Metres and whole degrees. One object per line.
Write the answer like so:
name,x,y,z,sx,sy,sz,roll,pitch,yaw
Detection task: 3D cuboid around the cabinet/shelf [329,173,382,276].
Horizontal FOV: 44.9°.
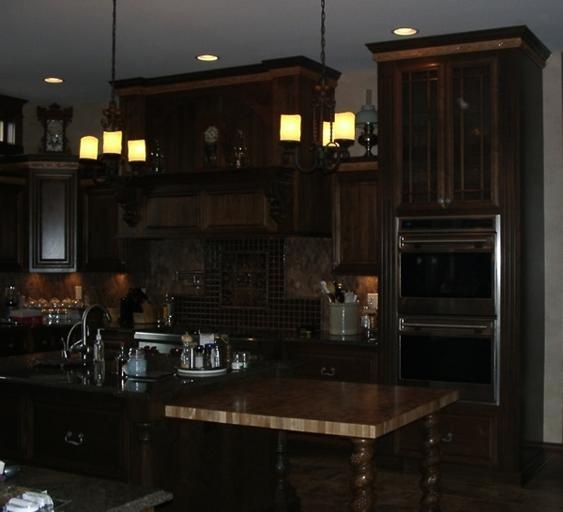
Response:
cabinet/shelf,0.582,-0.260,5.407,0.368,0.812,0.103,1,-1,33

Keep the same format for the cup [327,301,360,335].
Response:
cup,0.496,0.491,5.451,0.242,0.258,0.232,1,0,0

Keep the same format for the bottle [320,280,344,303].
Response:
bottle,0.426,0.289,5.642,0.206,0.168,0.390,1,-1,3

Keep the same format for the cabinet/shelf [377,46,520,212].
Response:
cabinet/shelf,1.205,-0.878,4.736,1.045,1.445,0.519,-1,-3,24

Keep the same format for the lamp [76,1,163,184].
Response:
lamp,-1.245,-1.036,5.417,0.690,0.917,3.302,2,-1,-17

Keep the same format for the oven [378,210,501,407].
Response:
oven,1.208,0.510,4.957,0.720,1.443,0.668,-1,-23,16

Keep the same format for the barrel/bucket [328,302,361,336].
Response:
barrel/bucket,0.500,0.498,5.459,0.240,0.254,0.230,1,1,0

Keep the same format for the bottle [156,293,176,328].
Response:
bottle,-1.078,0.489,6.344,0.162,0.222,0.484,1,-1,-10
